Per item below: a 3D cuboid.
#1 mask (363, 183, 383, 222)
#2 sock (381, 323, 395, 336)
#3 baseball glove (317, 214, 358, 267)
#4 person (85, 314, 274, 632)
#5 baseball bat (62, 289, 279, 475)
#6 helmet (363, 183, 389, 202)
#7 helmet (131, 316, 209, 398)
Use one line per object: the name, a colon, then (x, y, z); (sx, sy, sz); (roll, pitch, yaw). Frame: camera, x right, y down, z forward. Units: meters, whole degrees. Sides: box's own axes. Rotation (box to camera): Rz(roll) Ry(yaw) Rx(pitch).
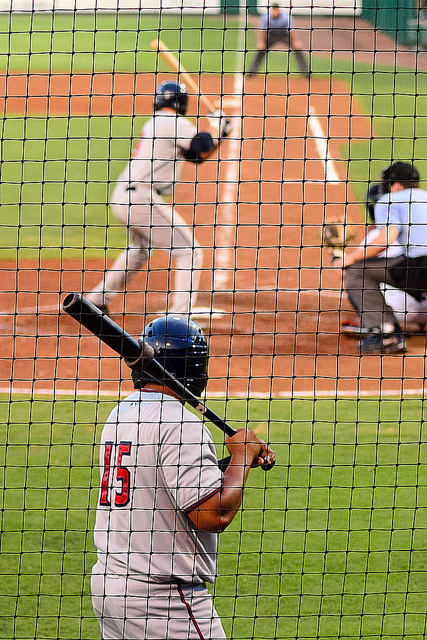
mask: (1.250, -0.926, 10.951); (0.192, 0.278, 0.109); (-4, -8, 33)
sock: (1.310, 0.064, 10.661); (0.060, 0.084, 0.071); (6, -7, 30)
baseball glove: (0.951, -0.644, 10.554); (0.164, 0.249, 0.458); (22, 11, 36)
person: (-0.162, 0.742, 6.476); (0.748, 1.428, 0.501); (3, 7, 1)
baseball bat: (-0.256, 0.377, 8.130); (1.859, 0.195, 0.191); (38, -43, -23)
helmet: (1.249, -0.986, 10.854); (0.159, 0.146, 0.378); (3, 7, -2)
helmet: (-0.196, 0.156, 6.708); (0.362, 0.362, 0.286); (-1, 17, -17)
